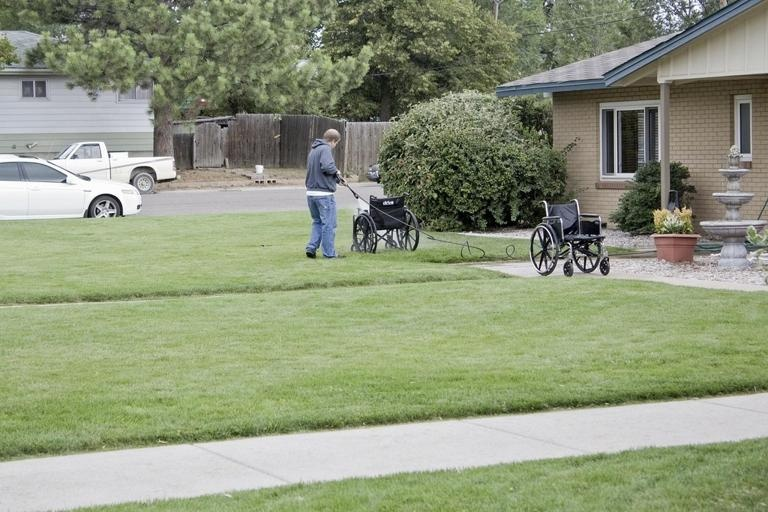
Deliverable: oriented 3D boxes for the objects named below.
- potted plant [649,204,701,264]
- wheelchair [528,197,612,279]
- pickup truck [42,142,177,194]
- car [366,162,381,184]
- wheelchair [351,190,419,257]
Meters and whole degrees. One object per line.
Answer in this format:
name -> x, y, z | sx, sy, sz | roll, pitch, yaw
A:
potted plant -> 5.573, -0.388, 21.547 | 0.832, 1.051, 0.987 | 2, 1, 19
wheelchair -> 3.360, -0.317, 20.089 | 1.163, 1.467, 1.346 | -6, 6, -38
pickup truck -> -8.489, -2.936, 36.055 | 3.843, 1.471, 1.669 | 1, 2, -32
car -> -0.415, -3.391, 45.022 | 0.913, 0.776, 1.555 | 2, 13, 3
wheelchair -> -0.079, -0.712, 22.566 | 0.947, 1.123, 1.468 | -2, 15, -22
